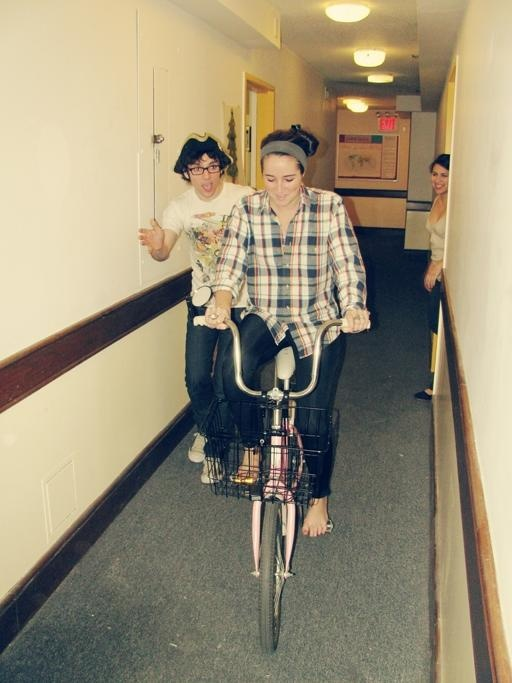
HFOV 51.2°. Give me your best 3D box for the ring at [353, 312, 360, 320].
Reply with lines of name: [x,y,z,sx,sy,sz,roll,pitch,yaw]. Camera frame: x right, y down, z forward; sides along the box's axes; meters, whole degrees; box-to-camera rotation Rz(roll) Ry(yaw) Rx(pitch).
ring: [0.317,-0.081,1.698,0.021,0.020,0.032,10,17,33]

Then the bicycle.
bicycle: [0.074,0.487,2.035,0.466,1.274,0.832,-1,13,-4]

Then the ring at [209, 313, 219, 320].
ring: [-0.141,-0.082,1.762,0.029,0.018,0.015,-1,14,-6]

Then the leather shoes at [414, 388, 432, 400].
leather shoes: [1.405,0.446,4.491,0.121,0.082,0.056,-12,-17,21]
